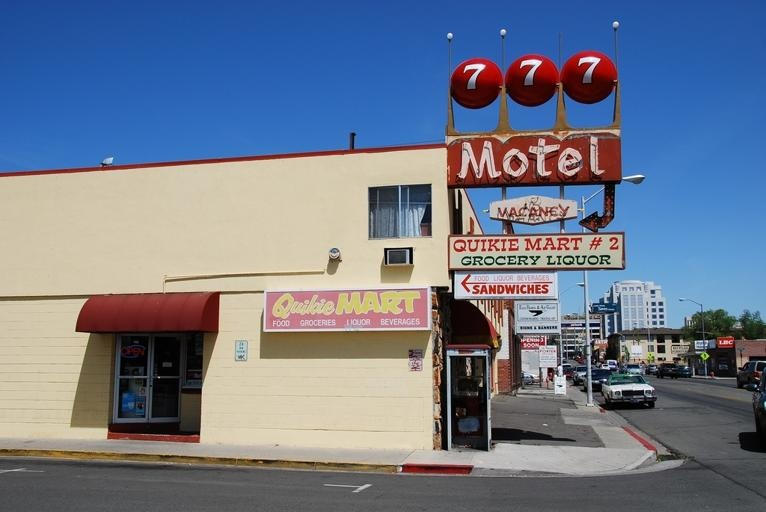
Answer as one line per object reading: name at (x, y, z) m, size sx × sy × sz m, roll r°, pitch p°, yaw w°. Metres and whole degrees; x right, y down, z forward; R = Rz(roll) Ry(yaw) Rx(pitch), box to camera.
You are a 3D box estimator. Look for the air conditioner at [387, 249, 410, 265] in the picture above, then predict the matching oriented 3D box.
air conditioner at (0.509, 0.188, 27.710) m, size 0.831 × 0.564 × 0.466 m, roll -1°, pitch -8°, yaw 7°
